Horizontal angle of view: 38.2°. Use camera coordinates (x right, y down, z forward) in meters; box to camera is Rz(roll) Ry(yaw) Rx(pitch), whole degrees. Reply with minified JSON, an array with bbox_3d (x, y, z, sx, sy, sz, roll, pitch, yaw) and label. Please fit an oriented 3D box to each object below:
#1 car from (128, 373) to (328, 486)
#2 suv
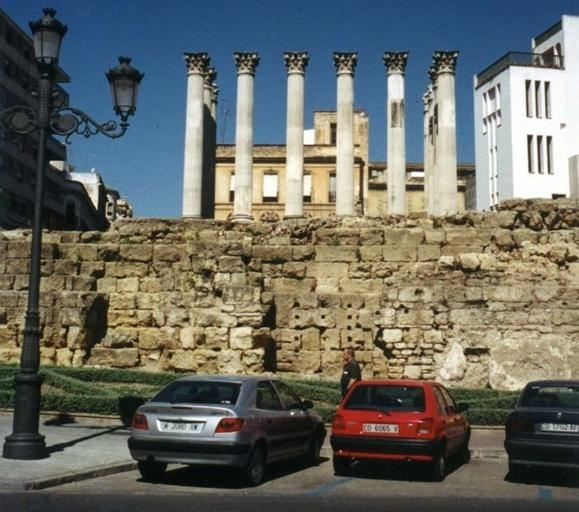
[{"bbox_3d":[-0.896,2.855,13.991,1.718,1.626,3.153,5,5,42],"label":"car"},{"bbox_3d":[2.056,2.943,14.665,1.398,0.921,2.332,-1,-1,20],"label":"suv"}]
